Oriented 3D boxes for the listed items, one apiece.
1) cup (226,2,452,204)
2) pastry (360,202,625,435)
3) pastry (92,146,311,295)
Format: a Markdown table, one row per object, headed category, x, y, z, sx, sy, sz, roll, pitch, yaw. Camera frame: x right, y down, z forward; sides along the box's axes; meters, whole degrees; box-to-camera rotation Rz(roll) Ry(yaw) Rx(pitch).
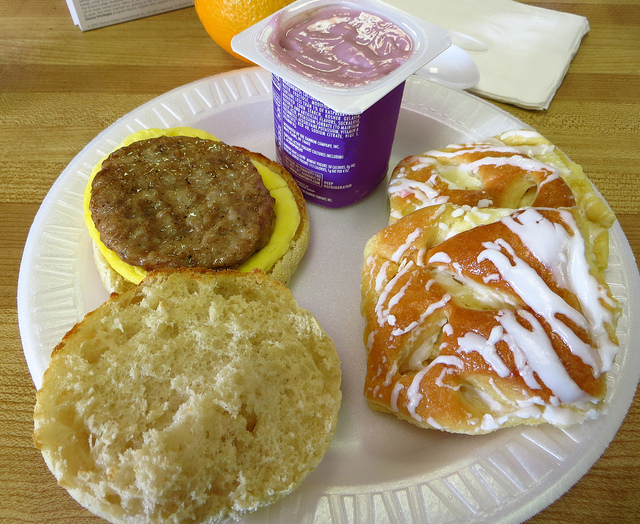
| category | x | y | z | sx | sy | sz | roll | pitch | yaw |
| --- | --- | --- | --- | --- | --- | --- | --- | --- | --- |
| cup | 0.069 | -0.541 | 2.106 | 0.447 | 0.545 | 0.517 | 40 | 72 | 16 |
| pastry | 0.475 | 0.139 | 1.869 | 0.692 | 0.294 | 0.659 | 0 | 66 | 0 |
| pastry | -0.366 | -0.111 | 1.923 | 0.342 | 0.080 | 0.338 | -1 | 54 | -6 |
